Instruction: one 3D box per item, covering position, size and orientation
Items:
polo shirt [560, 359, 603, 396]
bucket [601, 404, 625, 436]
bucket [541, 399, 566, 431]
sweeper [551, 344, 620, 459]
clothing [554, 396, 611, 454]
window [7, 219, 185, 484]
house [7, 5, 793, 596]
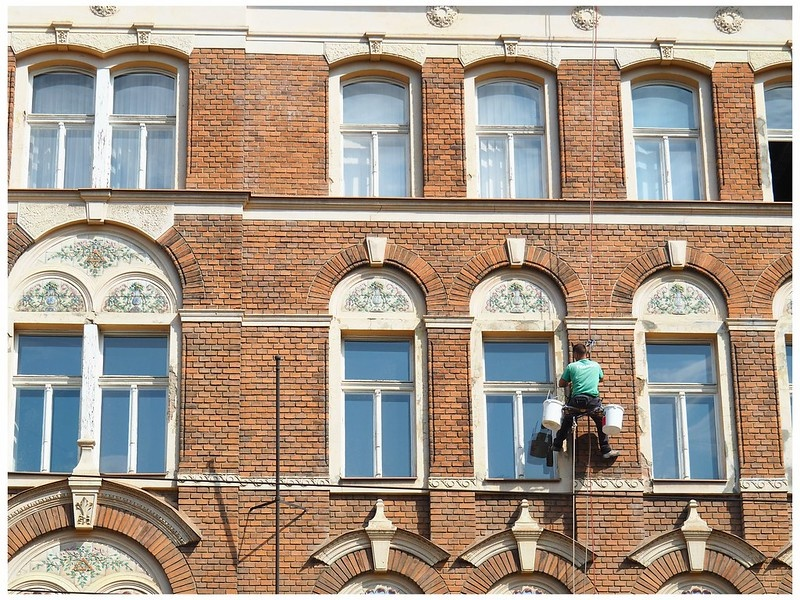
[{"bbox_3d":[3.345,1.528,38.471,0.996,0.824,0.580,0,-10,5],"label":"polo shirt"},{"bbox_3d":[3.926,2.214,38.367,0.382,0.544,0.396,-1,-19,0],"label":"bucket"},{"bbox_3d":[2.818,2.125,38.457,0.408,0.616,0.573,-3,-19,5],"label":"bucket"},{"bbox_3d":[3.432,1.872,38.492,1.219,2.124,0.814,1,-8,3],"label":"sweeper"},{"bbox_3d":[3.364,2.380,38.425,1.008,0.999,0.401,3,9,12],"label":"clothing"},{"bbox_3d":[-5.803,1.017,38.734,3.227,4.931,0.435,1,15,-11],"label":"window"},{"bbox_3d":[-0.451,0.441,39.057,10.665,8.779,4.055,1,-14,-4],"label":"house"}]
